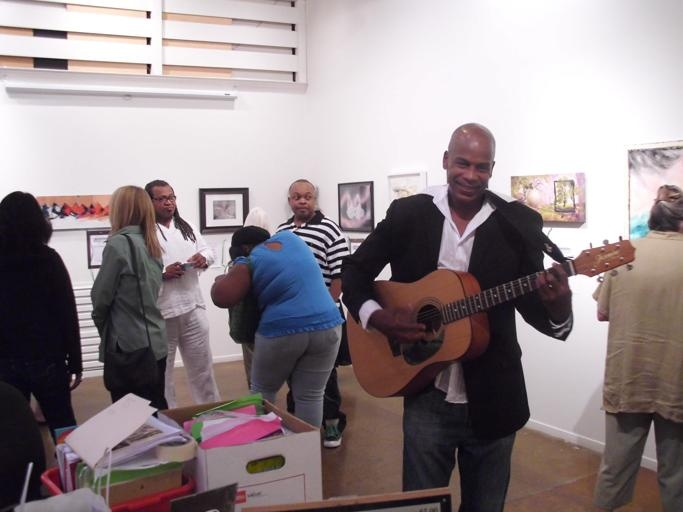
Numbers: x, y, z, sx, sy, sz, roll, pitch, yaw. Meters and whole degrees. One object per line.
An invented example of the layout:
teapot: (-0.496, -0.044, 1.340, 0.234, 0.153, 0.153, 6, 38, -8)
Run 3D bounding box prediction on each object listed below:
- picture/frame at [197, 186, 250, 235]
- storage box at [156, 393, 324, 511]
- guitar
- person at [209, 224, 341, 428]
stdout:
picture/frame: (-1.430, -0.584, 6.308, 0.603, 0.032, 0.614, -1, 52, -14)
storage box: (-0.312, 0.641, 1.825, 0.326, 0.219, 0.341, 0, -1, -30)
guitar: (0.386, 0.269, 2.032, 1.335, 0.580, 0.185, -21, -15, 32)
person: (-0.364, 0.486, 3.150, 0.749, 1.258, 0.239, -3, 9, -14)
